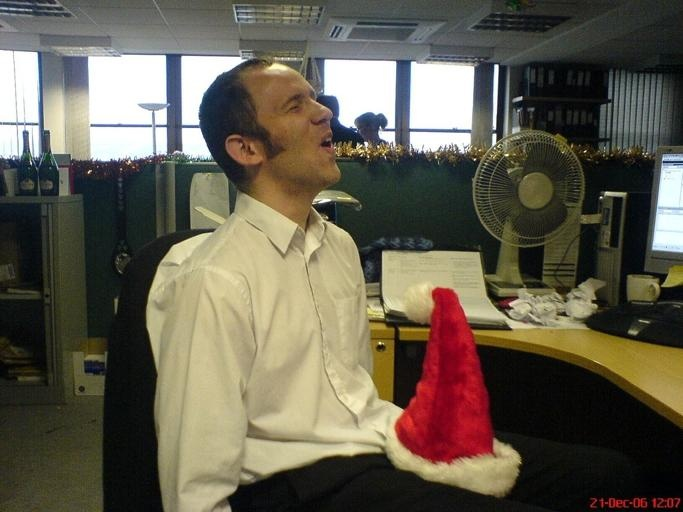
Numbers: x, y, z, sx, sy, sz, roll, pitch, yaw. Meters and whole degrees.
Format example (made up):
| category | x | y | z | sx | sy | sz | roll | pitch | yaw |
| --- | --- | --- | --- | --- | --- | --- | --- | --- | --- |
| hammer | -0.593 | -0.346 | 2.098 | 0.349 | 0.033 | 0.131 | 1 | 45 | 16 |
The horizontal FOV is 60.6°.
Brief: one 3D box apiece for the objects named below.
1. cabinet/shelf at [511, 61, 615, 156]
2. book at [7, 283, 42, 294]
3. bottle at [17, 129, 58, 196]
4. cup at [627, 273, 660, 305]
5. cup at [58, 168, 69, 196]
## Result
| category | x | y | z | sx | sy | sz | roll | pitch | yaw |
| --- | --- | --- | --- | --- | --- | --- | --- | --- | --- |
| cabinet/shelf | 3.092 | -2.152 | 8.137 | 1.178 | 1.116 | 0.827 | 7 | 22 | 29 |
| book | -1.767 | 0.186 | 3.253 | 0.107 | 0.031 | 0.105 | 4 | 1 | -14 |
| bottle | -1.667 | -0.515 | 3.211 | 0.393 | 0.351 | 0.171 | 6 | 13 | 35 |
| cup | 1.202 | 0.127 | 2.366 | 0.095 | 0.111 | 0.151 | 1 | 10 | 18 |
| cup | -1.535 | -0.418 | 3.240 | 0.049 | 0.146 | 0.048 | -1 | 10 | 0 |
